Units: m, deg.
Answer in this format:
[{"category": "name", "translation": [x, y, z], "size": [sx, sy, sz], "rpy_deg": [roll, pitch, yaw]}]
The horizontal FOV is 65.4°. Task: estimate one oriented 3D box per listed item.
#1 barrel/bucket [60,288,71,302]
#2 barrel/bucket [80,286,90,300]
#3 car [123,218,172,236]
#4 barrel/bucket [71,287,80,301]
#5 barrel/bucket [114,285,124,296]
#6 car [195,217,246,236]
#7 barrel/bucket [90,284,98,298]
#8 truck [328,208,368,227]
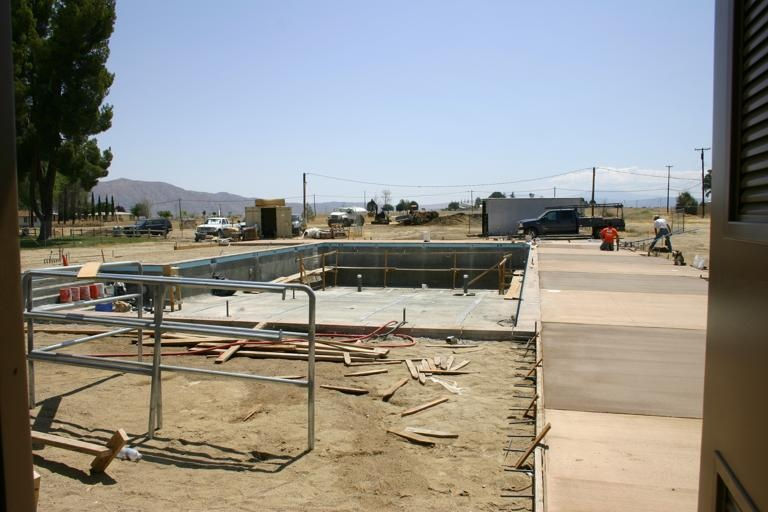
[{"category": "barrel/bucket", "translation": [-6.471, 0.778, 12.120], "size": [0.269, 0.270, 0.146], "rpy_deg": [2, 10, 6]}, {"category": "barrel/bucket", "translation": [-6.239, 0.746, 12.409], "size": [0.167, 0.335, 0.501], "rpy_deg": [0, 9, -28]}, {"category": "car", "translation": [-20.832, -2.528, 52.596], "size": [3.937, 1.627, 1.861], "rpy_deg": [2, -1, -40]}, {"category": "barrel/bucket", "translation": [-6.328, 0.758, 12.210], "size": [0.150, 0.341, 0.468], "rpy_deg": [0, 9, -27]}, {"category": "barrel/bucket", "translation": [-7.106, 0.903, 15.931], "size": [0.296, 0.287, 0.212], "rpy_deg": [3, 6, -1]}, {"category": "car", "translation": [-13.242, -2.733, 47.869], "size": [2.126, 1.407, 3.870], "rpy_deg": [-1, 0, 6]}, {"category": "barrel/bucket", "translation": [-5.898, 0.705, 12.101], "size": [0.165, 0.243, 0.539], "rpy_deg": [0, 8, -27]}, {"category": "truck", "translation": [-3.616, -3.835, 58.082], "size": [1.769, 1.573, 4.992], "rpy_deg": [-1, 2, 20]}]
